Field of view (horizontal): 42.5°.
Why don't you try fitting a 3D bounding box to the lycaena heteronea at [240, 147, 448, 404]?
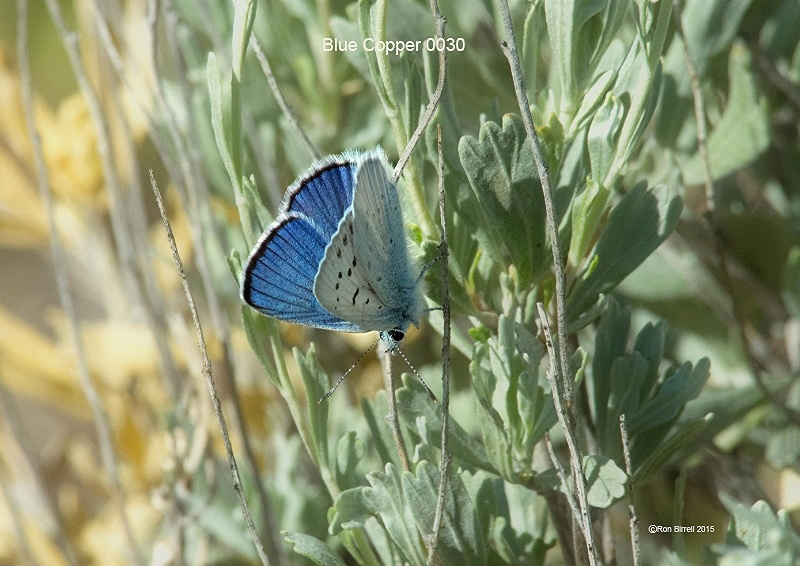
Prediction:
[{"bbox_3d":[-0.076,-0.038,1.344,0.162,0.293,0.305,35,21,11],"label":"lycaena heteronea"}]
